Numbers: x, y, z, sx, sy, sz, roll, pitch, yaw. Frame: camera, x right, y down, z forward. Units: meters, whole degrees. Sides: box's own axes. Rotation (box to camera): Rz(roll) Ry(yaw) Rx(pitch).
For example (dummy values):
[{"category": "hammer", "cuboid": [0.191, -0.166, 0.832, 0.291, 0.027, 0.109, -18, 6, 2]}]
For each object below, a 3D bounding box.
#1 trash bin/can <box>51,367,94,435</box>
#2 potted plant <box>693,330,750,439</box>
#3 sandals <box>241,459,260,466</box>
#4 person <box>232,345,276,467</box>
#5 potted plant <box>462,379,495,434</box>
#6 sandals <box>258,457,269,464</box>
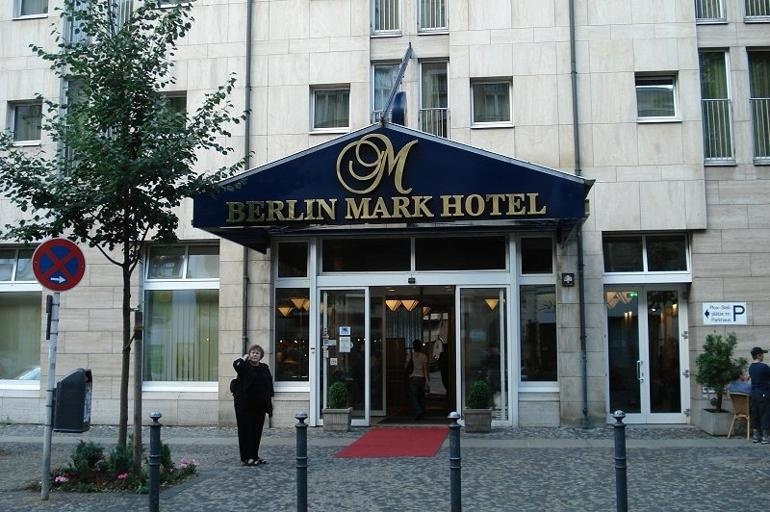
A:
[{"category": "trash bin/can", "cuboid": [-5.888, 2.716, 17.504, 0.661, 1.178, 0.376, 1, -7, -13]}, {"category": "potted plant", "cuboid": [7.950, 2.798, 22.085, 1.067, 1.752, 0.981, -9, -17, 38]}, {"category": "sandals", "cuboid": [-2.775, 4.272, 19.299, 0.369, 0.132, 0.128, -1, -2, 4]}, {"category": "person", "cuboid": [-2.805, 3.153, 19.802, 0.942, 2.334, 0.913, 1, -2, -31]}, {"category": "potted plant", "cuboid": [2.262, 3.632, 22.574, 0.662, 1.221, 0.660, -1, -6, 3]}, {"category": "sandals", "cuboid": [-2.514, 4.278, 19.383, 0.222, 0.084, 0.077, -1, -1, 5]}]
